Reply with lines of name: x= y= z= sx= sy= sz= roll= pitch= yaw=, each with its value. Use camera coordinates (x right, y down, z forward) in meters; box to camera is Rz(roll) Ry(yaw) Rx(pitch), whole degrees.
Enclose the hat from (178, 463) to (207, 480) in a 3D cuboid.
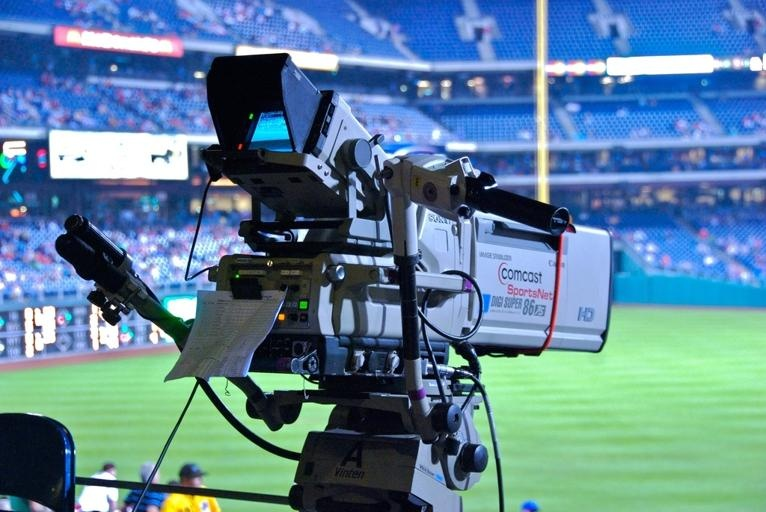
hat: x=-3.559 y=4.014 z=26.939 sx=0.397 sy=0.206 sz=0.279 roll=-3 pitch=1 yaw=-14
